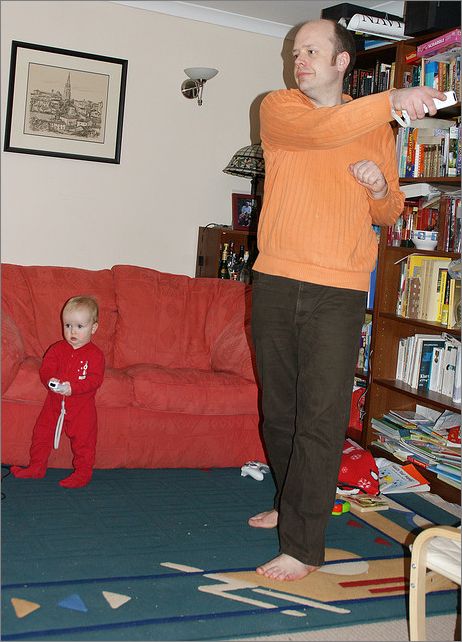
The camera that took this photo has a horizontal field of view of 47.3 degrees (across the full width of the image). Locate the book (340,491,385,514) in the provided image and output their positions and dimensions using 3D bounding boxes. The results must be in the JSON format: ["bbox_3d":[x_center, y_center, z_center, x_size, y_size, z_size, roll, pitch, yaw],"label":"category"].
[{"bbox_3d":[0.522,0.694,2.033,0.091,0.025,0.088,-2,7,-27],"label":"book"}]

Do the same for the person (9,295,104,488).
[{"bbox_3d":[-0.619,0.249,2.031,0.292,0.721,0.319,8,0,0],"label":"person"}]

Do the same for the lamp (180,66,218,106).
[{"bbox_3d":[-0.237,-1.696,3.728,0.257,0.255,0.227,0,5,-25],"label":"lamp"}]

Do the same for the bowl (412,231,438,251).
[{"bbox_3d":[0.923,-0.389,2.500,0.115,0.073,0.110,0,4,0],"label":"bowl"}]

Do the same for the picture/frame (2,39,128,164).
[{"bbox_3d":[-1.135,-1.493,3.500,0.941,0.827,0.036,6,7,-24],"label":"picture/frame"}]
